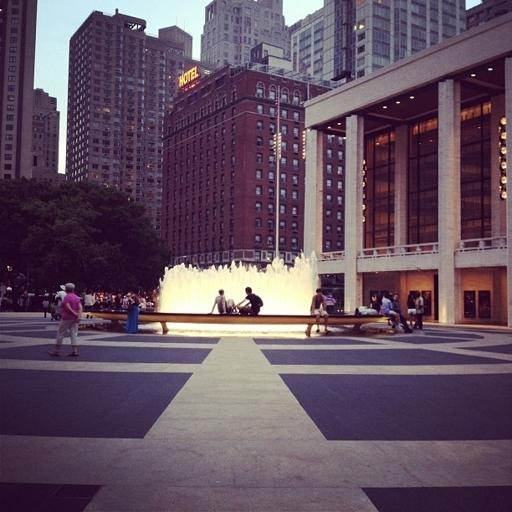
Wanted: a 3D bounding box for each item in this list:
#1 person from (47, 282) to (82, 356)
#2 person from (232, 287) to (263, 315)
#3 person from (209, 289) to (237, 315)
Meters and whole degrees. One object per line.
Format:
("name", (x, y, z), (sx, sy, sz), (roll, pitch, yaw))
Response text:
("person", (-4.685, 1.512, 14.643), (0.658, 1.714, 2.978), (1, -2, -18))
("person", (-0.204, 1.645, 22.046), (0.863, 0.985, 1.910), (1, -2, 1))
("person", (-1.218, 1.564, 22.209), (0.668, 1.242, 1.162), (4, 20, 24))
